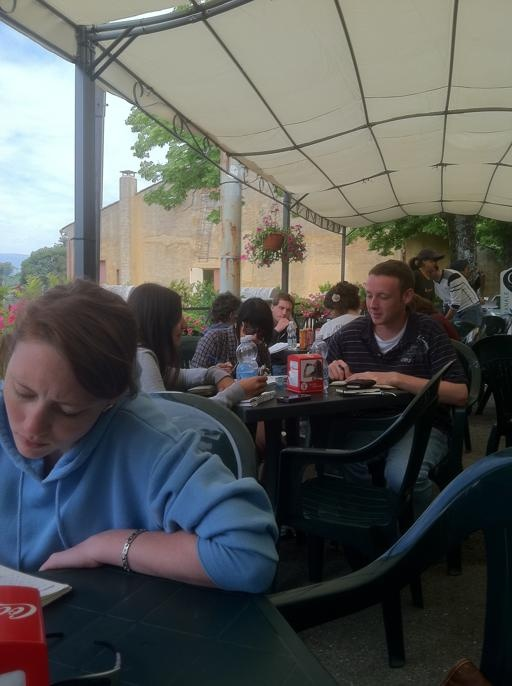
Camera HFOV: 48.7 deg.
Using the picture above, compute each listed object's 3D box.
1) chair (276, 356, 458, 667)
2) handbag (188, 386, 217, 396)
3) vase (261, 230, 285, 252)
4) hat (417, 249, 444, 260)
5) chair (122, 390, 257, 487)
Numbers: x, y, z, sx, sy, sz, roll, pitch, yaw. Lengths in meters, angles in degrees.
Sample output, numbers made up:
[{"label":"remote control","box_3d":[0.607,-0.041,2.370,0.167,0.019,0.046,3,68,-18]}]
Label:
[{"label":"chair","box_3d":[0.342,0.543,2.447,0.890,1.252,0.845,1,2,28]},{"label":"handbag","box_3d":[-0.261,0.224,2.688,0.116,0.026,0.113,0,0,4]},{"label":"vase","box_3d":[0.242,-1.436,7.982,0.270,0.185,0.275,1,-2,-40]},{"label":"hat","box_3d":[2.215,-1.129,7.120,0.266,0.124,0.162,-1,6,8]},{"label":"chair","box_3d":[-0.127,0.183,1.332,0.242,0.287,0.230,-1,-1,-27]}]
